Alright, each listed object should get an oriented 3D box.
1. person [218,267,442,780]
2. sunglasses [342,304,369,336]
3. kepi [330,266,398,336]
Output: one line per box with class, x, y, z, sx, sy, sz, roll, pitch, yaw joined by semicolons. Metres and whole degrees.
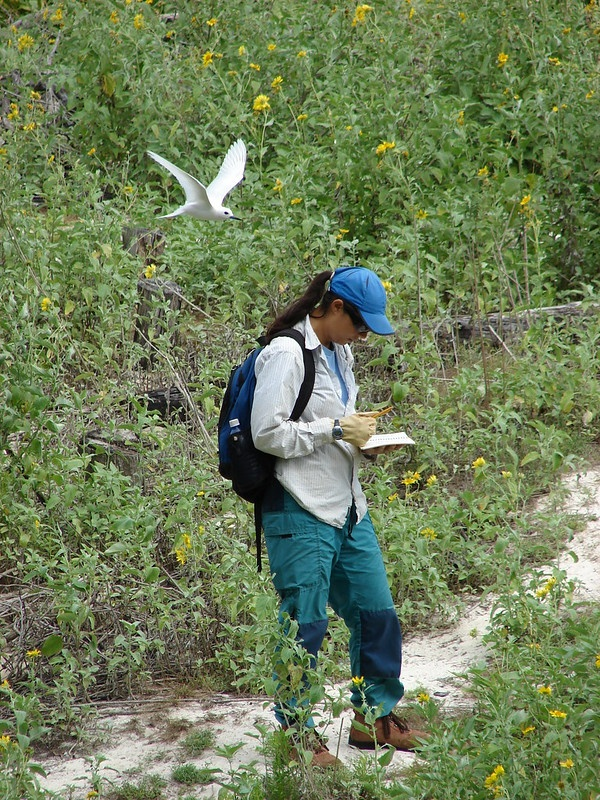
person;0.073;0.416;3.607;0.790;1.723;0.758;-1;2;-37
sunglasses;0.188;-0.275;3.422;0.031;0.087;0.099;-17;-17;19
kepi;0.210;-0.344;3.488;0.258;0.218;0.211;2;12;15
